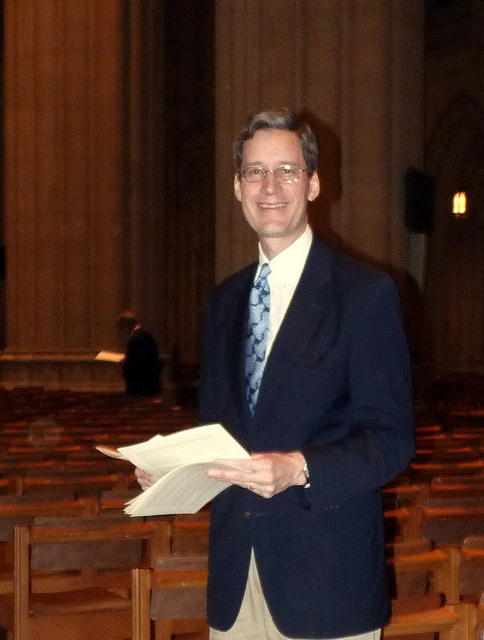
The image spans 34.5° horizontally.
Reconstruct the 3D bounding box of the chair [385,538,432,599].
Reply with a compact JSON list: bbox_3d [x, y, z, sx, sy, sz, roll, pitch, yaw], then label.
[{"bbox_3d":[0.629,0.951,2.933,0.161,0.257,0.409,-1,-2,14],"label":"chair"}]

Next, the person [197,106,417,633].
[{"bbox_3d":[0.105,0.098,1.827,0.462,1.266,0.654,0,-2,-19],"label":"person"}]

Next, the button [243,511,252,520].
[{"bbox_3d":[0.014,0.430,1.716,0.016,0.017,0.004,3,-3,18],"label":"button"}]

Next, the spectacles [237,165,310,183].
[{"bbox_3d":[0.081,-0.363,1.961,0.167,0.045,0.062,-1,-2,9],"label":"spectacles"}]

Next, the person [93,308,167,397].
[{"bbox_3d":[-1.887,0.583,13.287,1.021,1.500,0.804,-1,7,14],"label":"person"}]

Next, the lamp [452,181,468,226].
[{"bbox_3d":[5.236,-2.930,18.848,0.373,1.070,1.613,-1,-2,16],"label":"lamp"}]

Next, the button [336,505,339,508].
[{"bbox_3d":[0.202,0.393,1.645,0.007,0.005,0.003,0,-2,-26],"label":"button"}]

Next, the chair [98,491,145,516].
[{"bbox_3d":[-0.587,0.878,3.754,0.187,0.111,0.407,-1,-3,-8],"label":"chair"}]

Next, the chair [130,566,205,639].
[{"bbox_3d":[-0.228,0.889,2.481,0.227,0.223,0.135,-1,-2,-5],"label":"chair"}]

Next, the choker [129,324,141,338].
[{"bbox_3d":[-1.613,0.173,12.026,0.049,0.227,0.069,24,-19,20],"label":"choker"}]
